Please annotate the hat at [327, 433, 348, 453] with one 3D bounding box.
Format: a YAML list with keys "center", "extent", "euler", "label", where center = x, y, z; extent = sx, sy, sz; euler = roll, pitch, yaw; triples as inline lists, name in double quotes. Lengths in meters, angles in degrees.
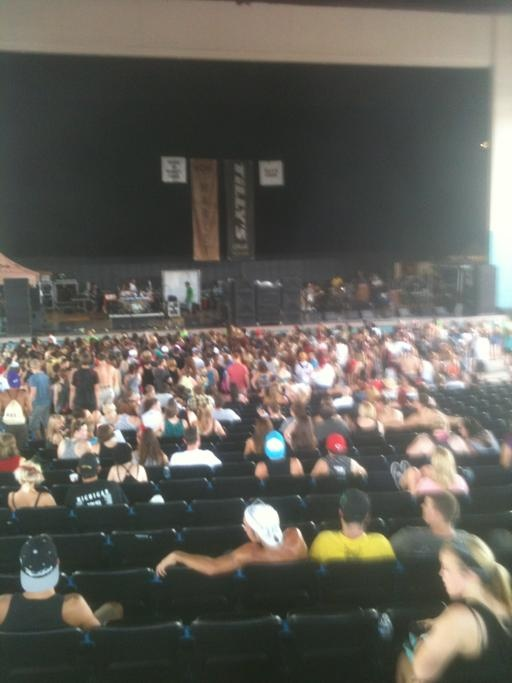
- center: [0.716, 0.920, 6.580]
  extent: [0.119, 0.173, 0.180]
  euler: [-1, 40, -7]
  label: "hat"

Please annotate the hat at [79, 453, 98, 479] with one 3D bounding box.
- center: [-1.206, 0.871, 5.324]
  extent: [0.153, 0.176, 0.277]
  euler: [3, 3, -7]
  label: "hat"

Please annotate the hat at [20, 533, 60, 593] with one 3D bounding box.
- center: [-1.117, 1.144, 3.858]
  extent: [0.173, 0.281, 0.192]
  euler: [-3, 3, -23]
  label: "hat"

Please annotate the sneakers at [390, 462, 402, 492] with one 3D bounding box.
- center: [1.098, 1.036, 5.843]
  extent: [0.070, 0.270, 0.097]
  euler: [1, 17, 10]
  label: "sneakers"

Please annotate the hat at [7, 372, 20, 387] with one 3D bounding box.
- center: [-3.250, 0.502, 10.111]
  extent: [0.127, 0.216, 0.185]
  euler: [-5, 18, -27]
  label: "hat"
